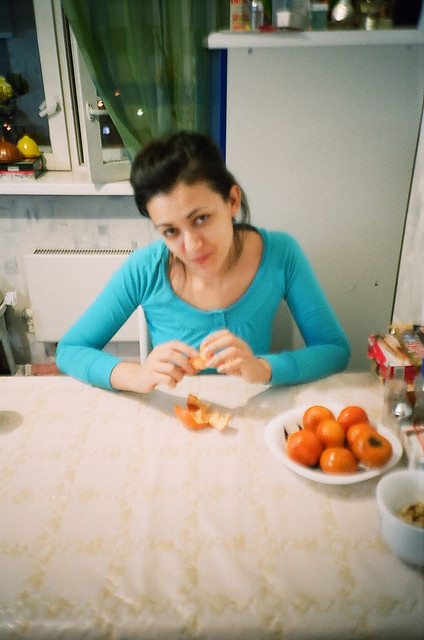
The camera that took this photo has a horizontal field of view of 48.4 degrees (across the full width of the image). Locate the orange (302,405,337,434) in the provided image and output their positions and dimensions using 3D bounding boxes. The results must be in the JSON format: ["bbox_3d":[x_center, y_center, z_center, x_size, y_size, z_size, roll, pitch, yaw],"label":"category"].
[{"bbox_3d":[0.145,0.131,0.639,0.036,0.037,0.032,1,47,-3],"label":"orange"}]

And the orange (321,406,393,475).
[{"bbox_3d":[0.178,0.158,0.596,0.069,0.031,0.070,-3,44,16],"label":"orange"}]

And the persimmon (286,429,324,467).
[{"bbox_3d":[0.113,0.158,0.575,0.040,0.048,0.040,-8,0,3],"label":"persimmon"}]

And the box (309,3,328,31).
[{"bbox_3d":[0.216,-0.616,0.957,0.040,0.048,0.023,-3,26,-4],"label":"box"}]

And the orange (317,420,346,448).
[{"bbox_3d":[0.146,0.140,0.586,0.029,0.036,0.030,0,2,6],"label":"orange"}]

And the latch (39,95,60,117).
[{"bbox_3d":[-0.603,-0.798,1.779,0.067,0.067,0.018,-8,47,-42],"label":"latch"}]

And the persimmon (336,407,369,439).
[{"bbox_3d":[0.182,0.134,0.613,0.033,0.034,0.041,-1,60,16],"label":"persimmon"}]
